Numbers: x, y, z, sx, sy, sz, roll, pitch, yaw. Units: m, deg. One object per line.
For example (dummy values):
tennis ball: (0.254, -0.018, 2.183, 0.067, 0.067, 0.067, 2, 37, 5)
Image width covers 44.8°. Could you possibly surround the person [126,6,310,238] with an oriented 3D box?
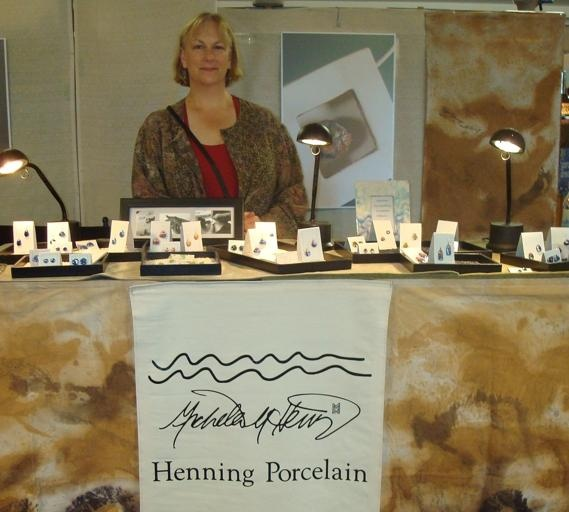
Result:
person: (-0.351, -0.587, 3.668, 0.945, 1.332, 0.691, -6, 12, -13)
